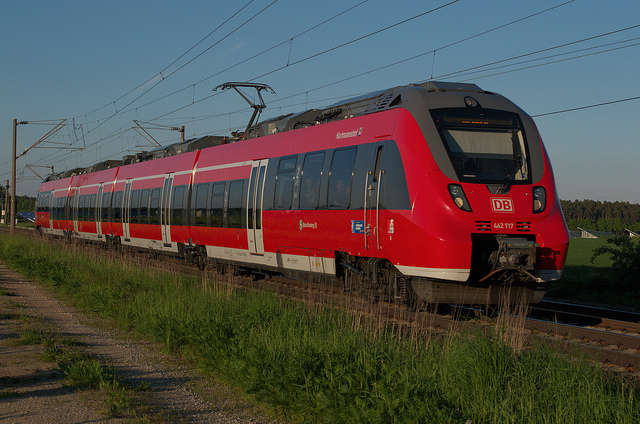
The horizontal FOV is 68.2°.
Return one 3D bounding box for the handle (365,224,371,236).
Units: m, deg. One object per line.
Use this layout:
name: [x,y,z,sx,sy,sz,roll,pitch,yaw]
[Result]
handle: [1.111,0.405,10.900,0.087,0.243,0.037,1,10,41]
